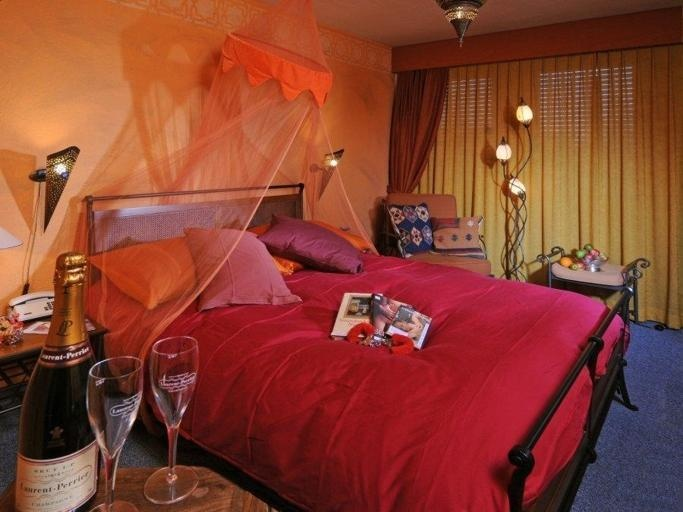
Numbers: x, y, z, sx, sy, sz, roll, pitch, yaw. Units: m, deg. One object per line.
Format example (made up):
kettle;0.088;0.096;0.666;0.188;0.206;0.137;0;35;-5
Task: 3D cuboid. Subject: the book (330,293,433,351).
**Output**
book;0.196;0.313;2.403;0.296;0.074;0.310;14;20;22

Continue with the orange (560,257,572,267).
orange;2.099;0.065;4.451;0.057;0.062;0.068;-22;-2;-21

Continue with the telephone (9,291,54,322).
telephone;-1.609;0.273;2.474;0.153;0.115;0.217;9;9;24

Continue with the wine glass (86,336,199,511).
wine glass;-0.471;0.393;1.165;0.227;0.353;0.269;0;6;-18

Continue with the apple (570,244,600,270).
apple;2.223;0.033;4.349;0.247;0.196;0.263;0;4;1
